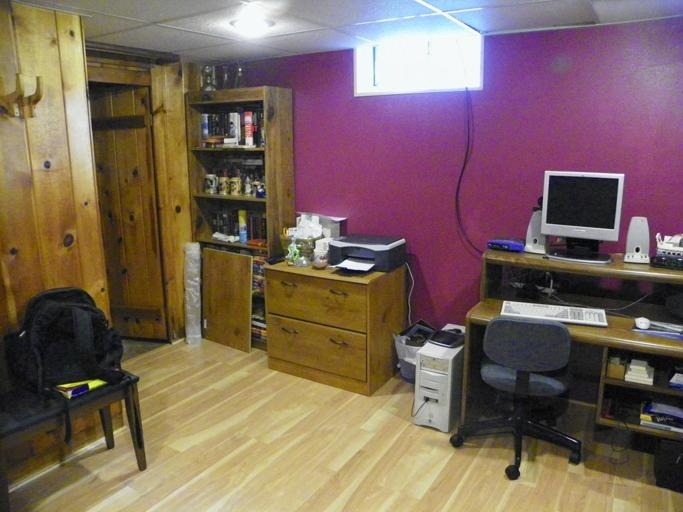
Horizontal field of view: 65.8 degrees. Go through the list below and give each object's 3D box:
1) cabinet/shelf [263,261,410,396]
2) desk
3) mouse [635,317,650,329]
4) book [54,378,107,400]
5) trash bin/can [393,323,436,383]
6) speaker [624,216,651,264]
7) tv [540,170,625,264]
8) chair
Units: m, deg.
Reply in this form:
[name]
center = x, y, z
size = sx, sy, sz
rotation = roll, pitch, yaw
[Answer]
[cabinet/shelf]
center = -0.024, 0.496, 4.681
size = 1.273, 1.129, 0.979
rotation = 4, 7, 29
[desk]
center = 1.547, 0.587, 3.487
size = 1.226, 1.166, 0.718
rotation = 4, 6, 32
[mouse]
center = 1.886, 0.407, 3.306
size = 0.073, 0.049, 0.072
rotation = -4, 15, 3
[book]
center = -1.541, 0.783, 3.139
size = 0.273, 0.059, 0.132
rotation = -6, 13, -26
[trash bin/can]
center = 0.553, 0.745, 4.254
size = 0.424, 0.512, 0.418
rotation = 0, -1, 18
[speaker]
center = 1.980, -0.112, 3.495
size = 0.145, 0.300, 0.166
rotation = 9, 15, 38
[tv]
center = 1.638, -0.278, 3.567
size = 0.557, 0.696, 0.254
rotation = 6, 13, 27
[chair]
center = 1.151, 0.762, 3.774
size = 0.977, 1.192, 0.984
rotation = 4, 9, 22
